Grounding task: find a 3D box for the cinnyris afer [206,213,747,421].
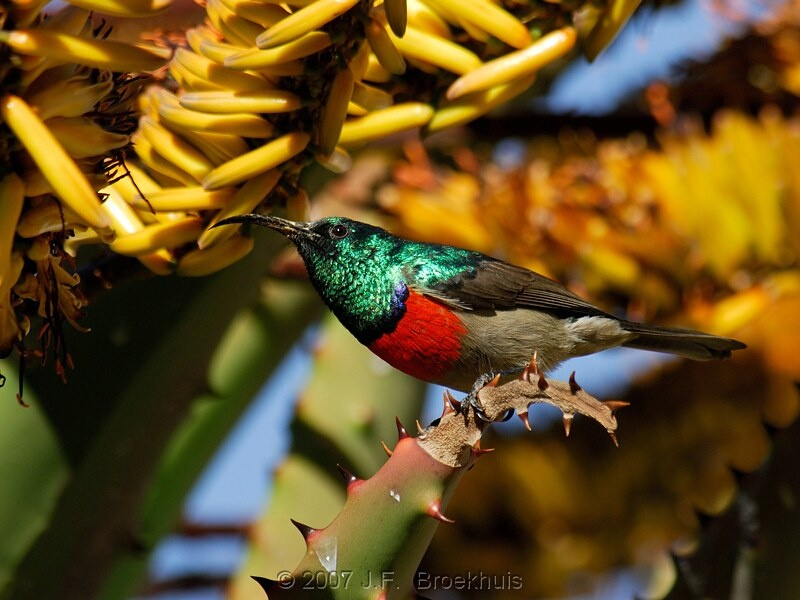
[{"bbox_3d":[0.164,0.029,1.585,0.981,0.294,0.432,1,89,-13],"label":"cinnyris afer"}]
